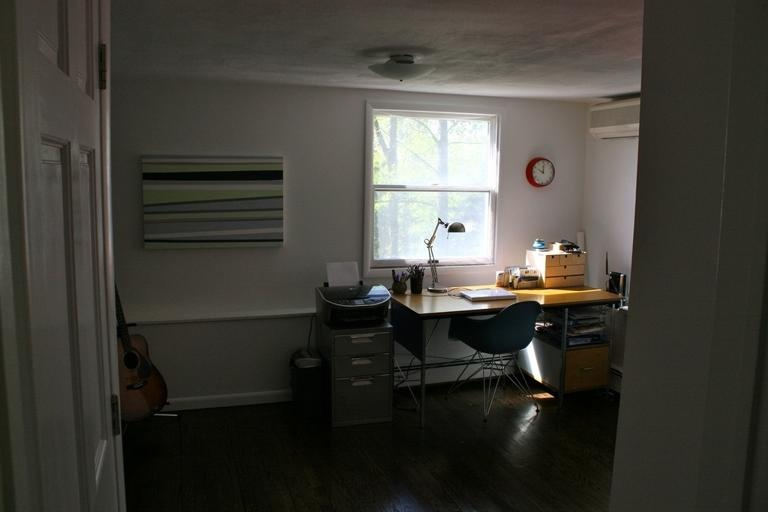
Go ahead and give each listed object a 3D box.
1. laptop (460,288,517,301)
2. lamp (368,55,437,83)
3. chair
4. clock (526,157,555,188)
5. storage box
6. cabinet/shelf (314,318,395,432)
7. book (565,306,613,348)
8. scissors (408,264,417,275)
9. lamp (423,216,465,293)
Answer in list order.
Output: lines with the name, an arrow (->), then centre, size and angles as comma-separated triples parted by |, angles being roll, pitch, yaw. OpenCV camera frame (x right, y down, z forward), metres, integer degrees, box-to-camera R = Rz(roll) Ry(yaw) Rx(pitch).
laptop -> 0.744, 0.278, 4.336 | 0.389, 0.034, 0.392 | -2, 9, -18
lamp -> 0.077, -0.897, 2.788 | 0.144, 0.058, 0.148 | 1, 2, 33
chair -> 0.646, 0.601, 3.994 | 0.439, 0.569, 0.402 | 3, -12, -26
clock -> 1.280, -0.694, 4.826 | 0.236, 0.239, 0.068 | -4, 7, -26
storage box -> 1.411, 0.857, 4.637 | 0.429, 0.287, 0.463 | 0, 2, -13
cabinet/shelf -> -0.186, 0.749, 4.167 | 0.424, 0.713, 0.567 | -2, 17, -8
book -> 1.544, 0.538, 4.444 | 0.270, 0.116, 0.371 | -1, 3, -5
scissors -> 0.215, 0.104, 4.444 | 0.048, 0.069, 0.025 | 1, -30, 4
lamp -> 0.462, -0.009, 4.568 | 0.290, 0.552, 0.408 | 1, 8, 4
